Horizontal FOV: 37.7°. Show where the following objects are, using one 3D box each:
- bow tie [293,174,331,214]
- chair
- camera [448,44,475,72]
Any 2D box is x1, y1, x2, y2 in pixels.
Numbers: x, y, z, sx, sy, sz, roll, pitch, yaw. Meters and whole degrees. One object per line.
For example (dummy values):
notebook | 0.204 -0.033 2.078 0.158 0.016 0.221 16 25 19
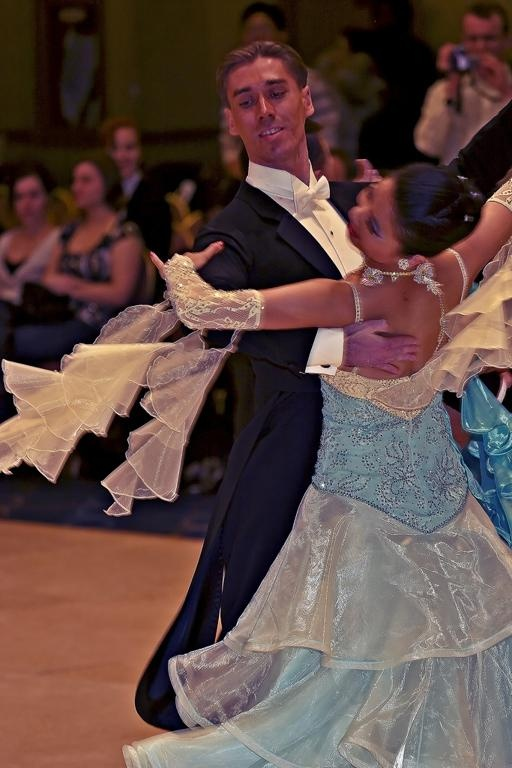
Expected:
bow tie | 0.119 -0.415 1.644 0.030 0.052 0.108 -26 4 38
chair | -0.727 -0.598 4.213 0.796 0.775 0.984 6 -3 -37
camera | 0.885 -1.412 3.273 0.107 0.117 0.129 -1 -1 -9
